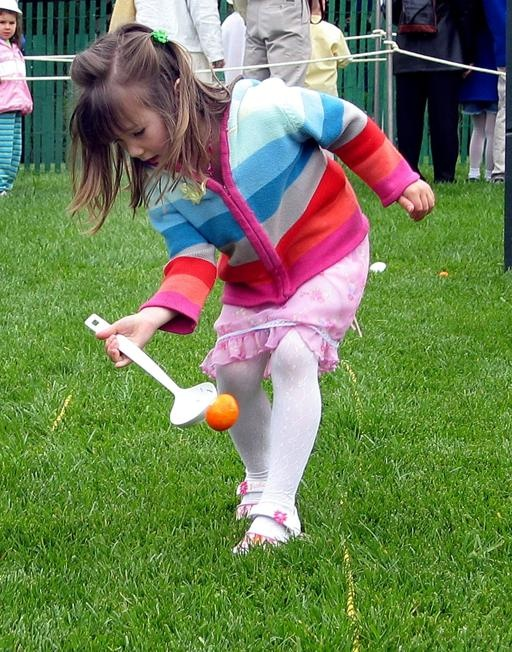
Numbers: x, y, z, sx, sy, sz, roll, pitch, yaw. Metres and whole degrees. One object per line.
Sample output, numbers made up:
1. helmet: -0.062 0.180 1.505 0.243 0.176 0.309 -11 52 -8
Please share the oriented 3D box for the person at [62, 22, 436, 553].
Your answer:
1. person: 0.005 -0.085 2.008 0.849 1.273 0.490 -5 14 -19
